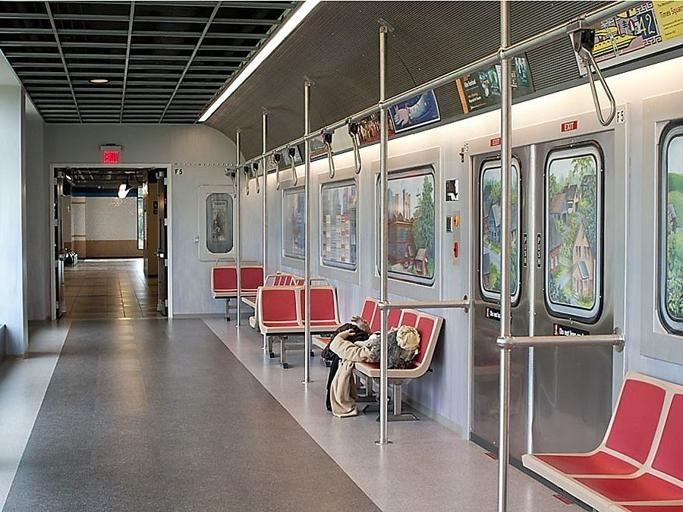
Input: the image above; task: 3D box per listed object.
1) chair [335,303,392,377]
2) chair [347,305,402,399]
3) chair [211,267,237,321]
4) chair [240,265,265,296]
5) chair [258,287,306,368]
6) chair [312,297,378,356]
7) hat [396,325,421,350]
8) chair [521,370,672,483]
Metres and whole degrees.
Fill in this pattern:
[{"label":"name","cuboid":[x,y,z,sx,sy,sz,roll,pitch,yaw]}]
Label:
[{"label":"chair","cuboid":[0.305,1.175,6.138,0.569,0.785,1.097,-4,6,-17]},{"label":"chair","cuboid":[0.376,1.107,5.360,0.466,0.894,1.273,0,-1,-9]},{"label":"chair","cuboid":[-2.955,0.944,11.807,0.569,1.332,0.905,0,1,-17]},{"label":"chair","cuboid":[-2.119,0.604,11.075,0.657,0.689,0.345,3,-8,-31]},{"label":"chair","cuboid":[-1.057,1.126,7.870,1.029,1.557,1.118,0,-2,-14]},{"label":"chair","cuboid":[0.186,0.944,6.457,1.012,0.683,0.561,-5,1,-31]},{"label":"hat","cuboid":[0.711,0.898,5.151,0.255,0.229,0.202,0,1,8]},{"label":"chair","cuboid":[1.462,1.008,2.852,0.729,0.583,0.520,-2,3,-16]}]
